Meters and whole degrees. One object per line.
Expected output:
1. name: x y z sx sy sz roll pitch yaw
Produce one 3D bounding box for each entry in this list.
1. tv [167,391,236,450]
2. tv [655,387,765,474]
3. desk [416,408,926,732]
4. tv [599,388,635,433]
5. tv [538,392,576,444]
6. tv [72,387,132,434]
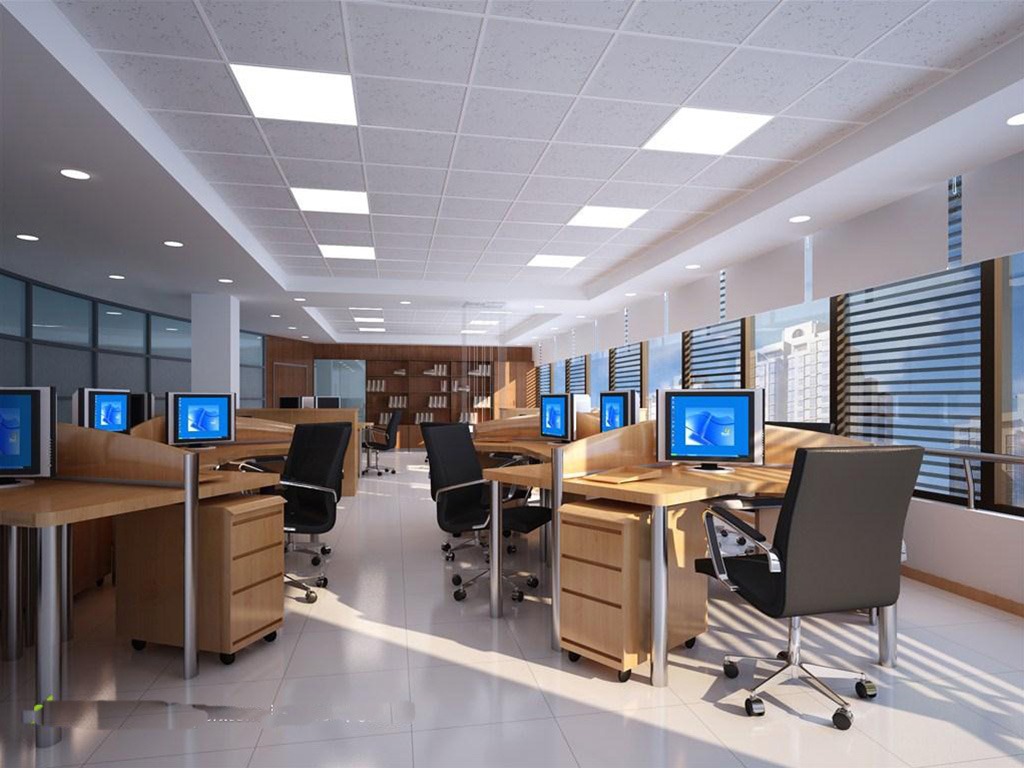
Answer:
1. tv: -2.921 0.350 6.629 0.770 0.510 0.150 -2 -2 19
2. tv: 1.498 0.324 5.143 0.255 0.548 0.812 -1 0 -41
3. desk: 1.030 0.943 4.374 1.939 1.137 1.851 0 0 -22
4. tv: 0.954 0.255 6.427 0.217 0.356 0.406 2 -6 -19
5. tv: 0.497 0.339 7.278 0.195 0.463 0.568 -1 0 -27
6. tv: -3.808 0.251 6.488 0.279 0.361 0.458 2 -1 6
